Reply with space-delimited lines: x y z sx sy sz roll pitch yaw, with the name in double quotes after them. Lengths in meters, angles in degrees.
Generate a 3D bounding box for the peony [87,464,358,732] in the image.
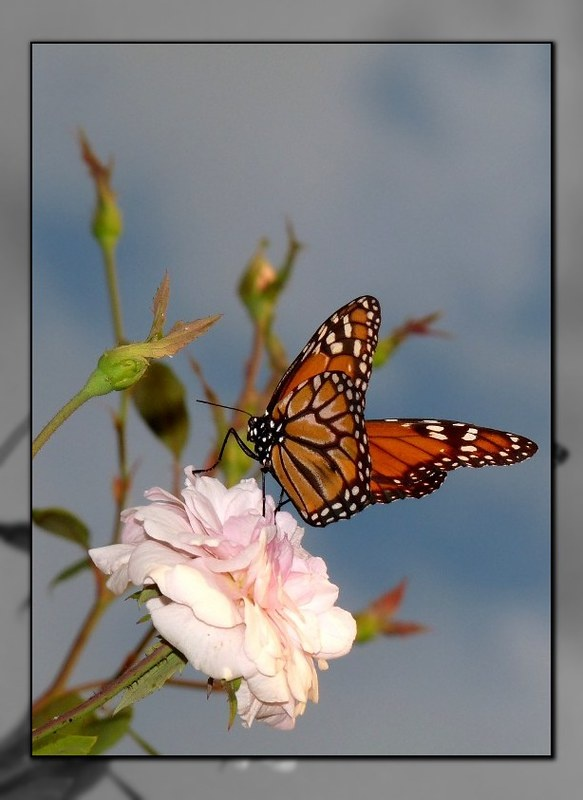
-0.047 0.150 0.852 0.180 0.148 0.156 30 42 34 "peony"

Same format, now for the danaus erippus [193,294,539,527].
0.078 0.016 1.116 0.354 0.253 0.233 8 14 -5 "danaus erippus"
